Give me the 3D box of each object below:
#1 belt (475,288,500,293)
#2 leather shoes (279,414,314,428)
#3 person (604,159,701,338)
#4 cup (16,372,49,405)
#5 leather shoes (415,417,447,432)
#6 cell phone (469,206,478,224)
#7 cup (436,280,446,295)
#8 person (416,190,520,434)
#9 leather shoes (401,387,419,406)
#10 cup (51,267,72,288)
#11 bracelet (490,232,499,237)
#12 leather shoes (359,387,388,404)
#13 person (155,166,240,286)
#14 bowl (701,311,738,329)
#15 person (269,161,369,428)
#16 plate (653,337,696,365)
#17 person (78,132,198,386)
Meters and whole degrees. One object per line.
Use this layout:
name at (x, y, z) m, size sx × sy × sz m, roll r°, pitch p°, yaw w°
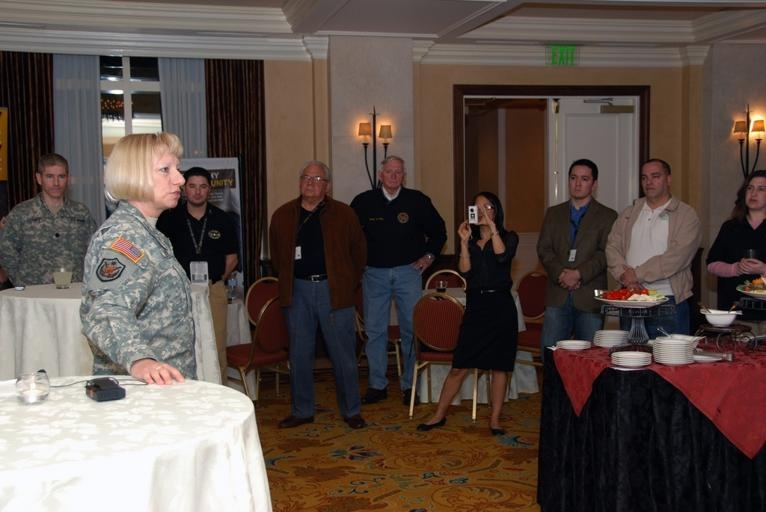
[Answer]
belt at (0.844, 0.273, 5.067) m, size 0.155 × 0.038 × 0.024 m, roll -1°, pitch 7°, yaw 4°
leather shoes at (-0.749, 1.425, 5.467) m, size 0.282 × 0.116 × 0.103 m, roll 7°, pitch -8°, yaw -23°
person at (2.004, -0.053, 4.714) m, size 0.644 × 1.327 × 0.710 m, roll 2°, pitch 8°, yaw 26°
cup at (-1.389, 0.522, 2.508) m, size 0.110 × 0.112 × 0.113 m, roll 0°, pitch 1°, yaw 0°
leather shoes at (0.409, 1.422, 5.334) m, size 0.254 × 0.104 × 0.091 m, roll 3°, pitch -8°, yaw -23°
cell phone at (0.726, -0.334, 5.071) m, size 0.089 × 0.135 × 0.070 m, roll 1°, pitch 7°, yaw 17°
cup at (0.539, 0.287, 5.815) m, size 0.082 × 0.106 × 0.101 m, roll 1°, pitch -15°, yaw 4°
person at (0.761, 0.466, 5.229) m, size 0.680 × 1.979 × 0.439 m, roll 0°, pitch 7°, yaw 11°
leather shoes at (0.250, 1.322, 5.968) m, size 0.135 × 0.183 × 0.180 m, roll -1°, pitch 19°, yaw 6°
cup at (-2.565, 0.168, 5.060) m, size 0.152 × 0.171 × 0.156 m, roll -1°, pitch -3°, yaw 0°
bracelet at (0.891, -0.171, 5.035) m, size 0.054 × 0.054 × 0.035 m, roll 7°, pitch 17°, yaw -34°
leather shoes at (-0.083, 1.352, 6.079) m, size 0.279 × 0.122 × 0.102 m, roll 3°, pitch -6°, yaw -37°
person at (-1.683, -0.241, 5.738) m, size 0.743 × 1.103 × 0.578 m, roll -3°, pitch 9°, yaw -26°
bowl at (2.094, 0.383, 3.925) m, size 0.199 × 0.102 × 0.206 m, roll -1°, pitch 7°, yaw 0°
person at (-0.564, 0.324, 5.440) m, size 0.826 × 2.251 × 0.512 m, roll -2°, pitch 7°, yaw -3°
plate at (1.606, 0.532, 3.540) m, size 0.154 × 0.096 × 0.157 m, roll 0°, pitch 0°, yaw -9°
person at (-1.067, 0.039, 2.694) m, size 0.465 × 1.135 × 0.424 m, roll -4°, pitch 7°, yaw -19°
